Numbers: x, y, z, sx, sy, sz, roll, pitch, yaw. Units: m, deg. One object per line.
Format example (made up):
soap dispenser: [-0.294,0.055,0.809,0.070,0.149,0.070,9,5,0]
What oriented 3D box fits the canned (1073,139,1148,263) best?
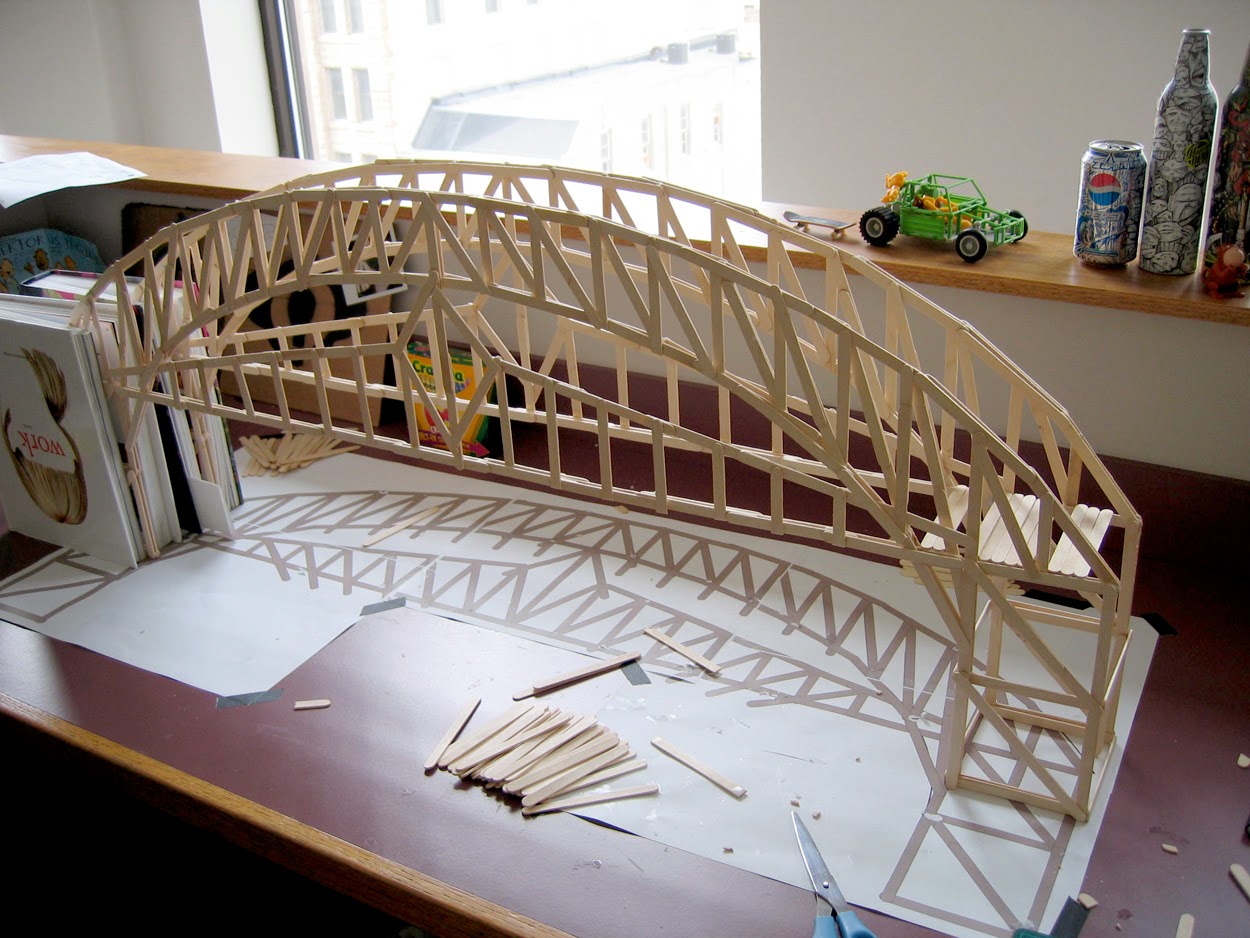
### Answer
canned: [0.913,-0.491,1.813,0.116,0.227,0.128,12,21,27]

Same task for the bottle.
bottle: [1.020,-0.558,1.745,0.172,0.422,0.102,-4,19,-16]

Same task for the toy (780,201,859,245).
toy: [0.431,-0.542,2.147,0.177,0.049,0.218,8,21,15]

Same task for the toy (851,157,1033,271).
toy: [0.641,-0.512,2.017,0.329,0.173,0.231,20,42,25]
